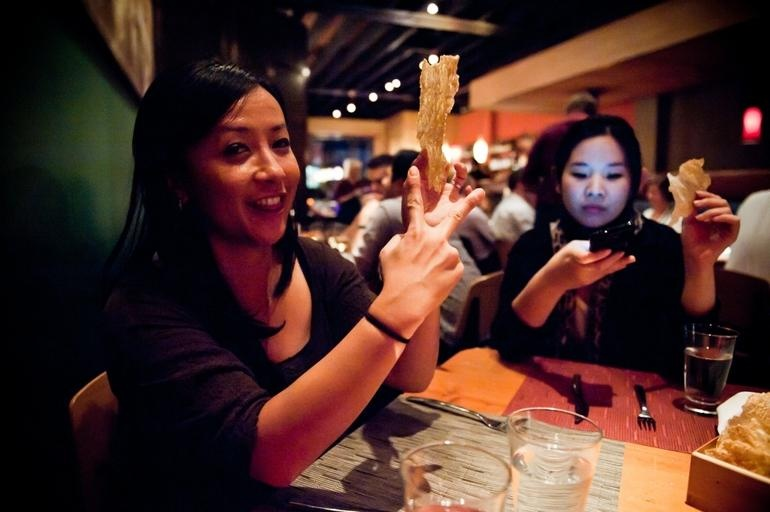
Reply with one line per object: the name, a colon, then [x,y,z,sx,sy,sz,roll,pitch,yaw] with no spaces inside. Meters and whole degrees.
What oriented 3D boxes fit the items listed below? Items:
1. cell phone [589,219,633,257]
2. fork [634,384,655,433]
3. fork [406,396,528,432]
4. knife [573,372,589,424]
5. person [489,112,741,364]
cell phone: [0.842,-0.070,2.090,0.210,0.108,0.107,-7,14,-35]
fork: [0.835,0.497,1.871,0.043,0.020,0.174,1,21,20]
fork: [0.254,0.496,1.814,0.288,0.047,0.041,13,-26,19]
knife: [0.658,0.466,1.947,0.042,0.043,0.147,-3,26,18]
person: [0.881,-0.063,2.317,0.828,0.969,0.548,2,12,10]
